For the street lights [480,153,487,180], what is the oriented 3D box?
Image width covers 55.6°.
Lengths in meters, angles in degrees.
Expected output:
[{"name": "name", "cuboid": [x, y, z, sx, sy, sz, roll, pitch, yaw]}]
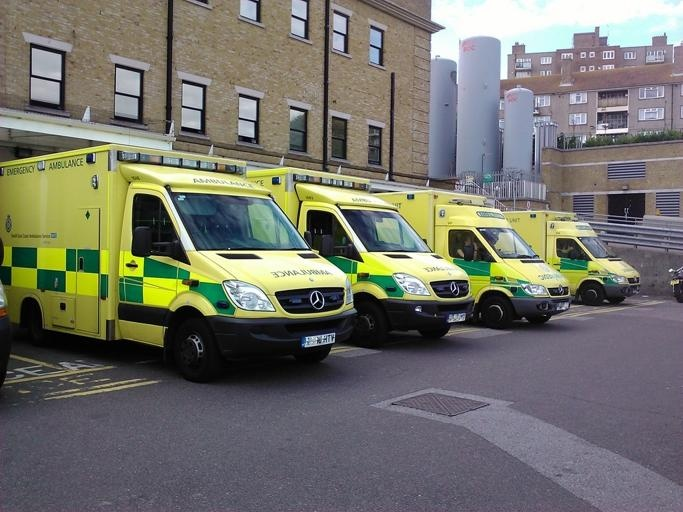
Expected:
[{"name": "street lights", "cuboid": [10.050, -6.553, 45.841, 0.290, 1.501, 0.623, 2, 4, 11]}]

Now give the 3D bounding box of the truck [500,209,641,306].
[{"name": "truck", "cuboid": [7.590, -0.260, 23.192, 2.602, 3.104, 5.724, -11, 12, -41]}]

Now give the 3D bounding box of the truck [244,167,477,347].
[{"name": "truck", "cuboid": [-0.383, -0.073, 14.124, 6.614, 3.763, 3.029, -3, -4, 45]}]

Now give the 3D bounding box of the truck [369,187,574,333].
[{"name": "truck", "cuboid": [2.799, 0.086, 17.039, 6.242, 3.493, 2.974, -1, -2, 42]}]
